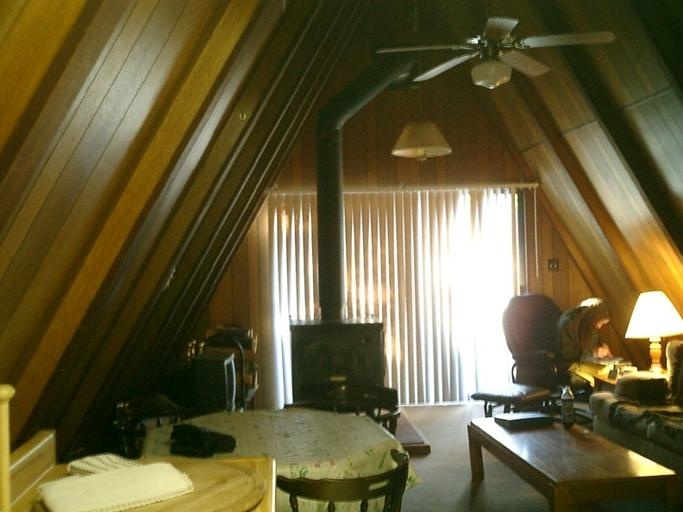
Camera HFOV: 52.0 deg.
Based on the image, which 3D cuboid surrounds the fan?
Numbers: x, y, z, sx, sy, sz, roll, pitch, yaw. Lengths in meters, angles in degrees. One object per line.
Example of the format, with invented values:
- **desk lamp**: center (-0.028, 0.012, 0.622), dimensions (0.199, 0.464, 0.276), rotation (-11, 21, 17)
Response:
- **fan**: center (0.912, -1.101, 3.753), dimensions (0.712, 0.197, 0.767), rotation (-1, 3, 45)

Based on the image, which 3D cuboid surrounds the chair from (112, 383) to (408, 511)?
- **chair**: center (-0.231, 0.888, 3.103), dimensions (1.114, 0.436, 0.932), rotation (-3, -13, 6)

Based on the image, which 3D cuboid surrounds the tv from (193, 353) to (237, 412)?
- **tv**: center (-0.734, 0.713, 4.247), dimensions (0.264, 0.406, 0.395), rotation (-1, -1, -4)

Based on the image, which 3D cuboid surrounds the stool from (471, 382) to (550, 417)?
- **stool**: center (1.278, 1.066, 5.231), dimensions (0.552, 0.228, 0.491), rotation (-11, -16, 36)
